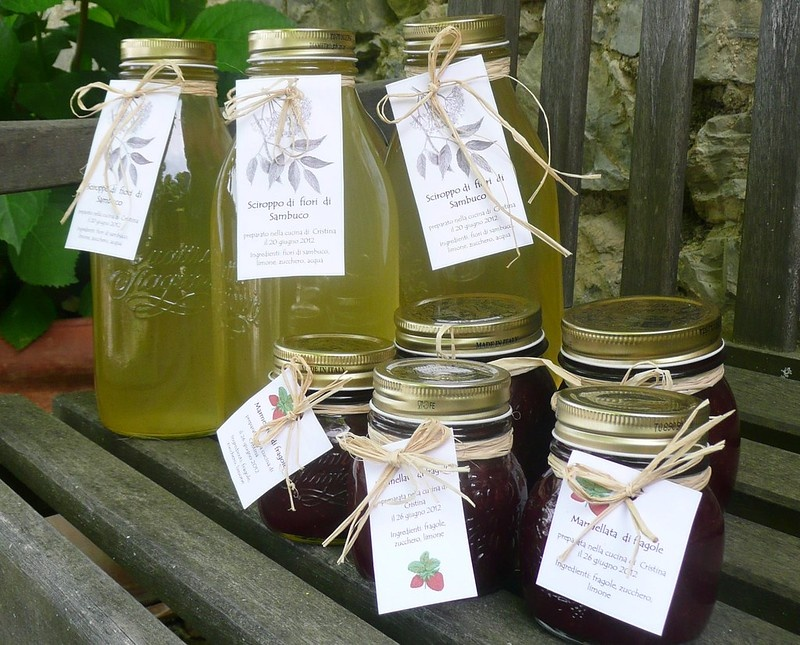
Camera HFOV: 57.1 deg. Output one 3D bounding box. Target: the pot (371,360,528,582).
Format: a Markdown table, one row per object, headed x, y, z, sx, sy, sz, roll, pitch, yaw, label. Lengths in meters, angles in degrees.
| x | y | z | sx | sy | sz | roll | pitch | yaw | label |
| --- | --- | --- | --- | --- | --- | --- | --- | --- | --- |
| 0.044 | 0.107 | 0.569 | 0.127 | 0.144 | 0.160 | 1 | 9 | 5 | pot |

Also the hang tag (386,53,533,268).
| x | y | z | sx | sy | sz | roll | pitch | yaw | label |
| --- | --- | --- | --- | --- | --- | --- | --- | --- | --- |
| 0.055 | -0.141 | 0.667 | 0.115 | 0.194 | 0.076 | -5 | 16 | -9 | hang tag |

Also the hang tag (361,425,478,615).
| x | y | z | sx | sy | sz | roll | pitch | yaw | label |
| --- | --- | --- | --- | --- | --- | --- | --- | --- | --- |
| 0.015 | 0.146 | 0.505 | 0.066 | 0.089 | 0.043 | -4 | 16 | -6 | hang tag |

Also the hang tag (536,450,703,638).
| x | y | z | sx | sy | sz | roll | pitch | yaw | label |
| --- | --- | --- | --- | --- | --- | --- | --- | --- | --- |
| 0.139 | 0.142 | 0.474 | 0.084 | 0.086 | 0.048 | 9 | 19 | 35 | hang tag |

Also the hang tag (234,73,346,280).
| x | y | z | sx | sy | sz | roll | pitch | yaw | label |
| --- | --- | --- | --- | --- | --- | --- | --- | --- | --- |
| -0.105 | -0.130 | 0.655 | 0.108 | 0.174 | 0.081 | -1 | 16 | 2 | hang tag |

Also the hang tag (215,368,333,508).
| x | y | z | sx | sy | sz | roll | pitch | yaw | label |
| --- | --- | --- | --- | --- | --- | --- | --- | --- | --- |
| -0.101 | 0.098 | 0.614 | 0.010 | 0.106 | 0.102 | -12 | 47 | -41 | hang tag |

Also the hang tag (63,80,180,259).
| x | y | z | sx | sy | sz | roll | pitch | yaw | label |
| --- | --- | --- | --- | --- | --- | --- | --- | --- | --- |
| -0.286 | -0.158 | 0.744 | 0.111 | 0.171 | 0.085 | 8 | 19 | 32 | hang tag |
